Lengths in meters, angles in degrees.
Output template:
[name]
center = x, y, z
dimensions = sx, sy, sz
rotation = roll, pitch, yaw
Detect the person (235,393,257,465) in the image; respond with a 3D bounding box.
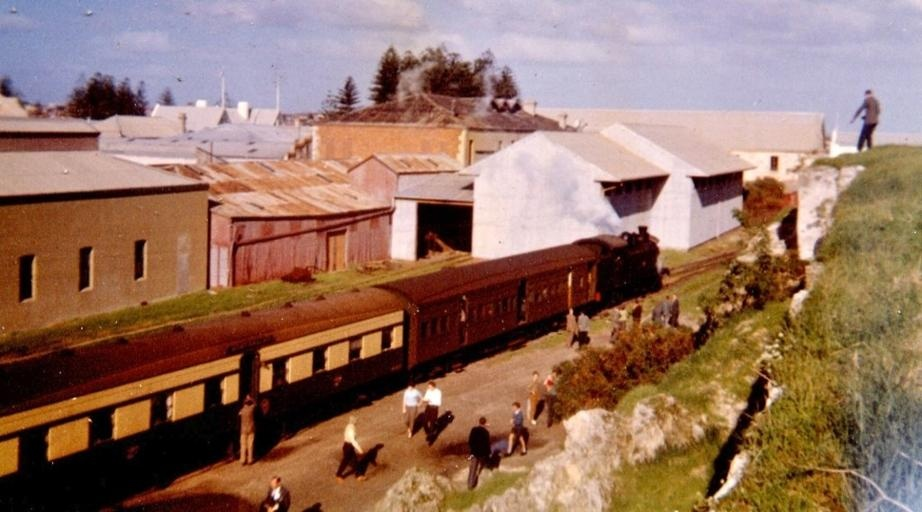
[person]
center = -8.006, 6.577, 30.753
dimensions = 0.633, 2.605, 0.702
rotation = -3, 12, -21
